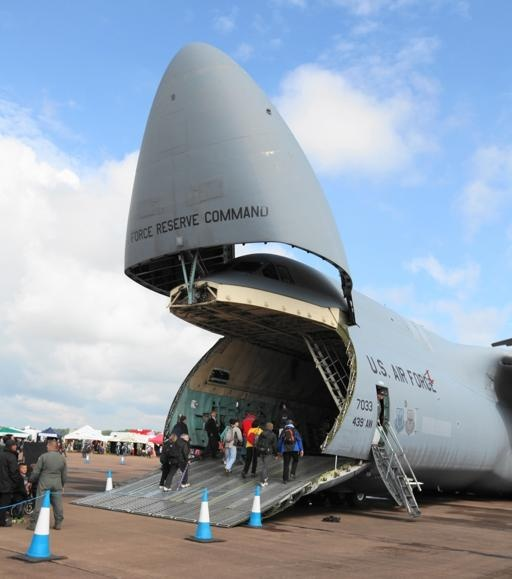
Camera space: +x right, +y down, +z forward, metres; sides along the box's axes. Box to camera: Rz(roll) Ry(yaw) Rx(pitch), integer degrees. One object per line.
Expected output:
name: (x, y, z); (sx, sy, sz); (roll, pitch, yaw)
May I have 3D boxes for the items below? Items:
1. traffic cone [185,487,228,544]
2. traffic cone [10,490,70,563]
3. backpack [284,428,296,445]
traffic cone: (-0.873, 3.727, 8.901); (0.662, 0.734, 0.601); (-3, -25, 13)
traffic cone: (-2.740, 2.971, 6.808); (0.721, 0.708, 0.687); (-9, -24, 35)
backpack: (0.769, 3.418, 12.433); (0.291, 0.459, 0.213); (0, -16, 3)
